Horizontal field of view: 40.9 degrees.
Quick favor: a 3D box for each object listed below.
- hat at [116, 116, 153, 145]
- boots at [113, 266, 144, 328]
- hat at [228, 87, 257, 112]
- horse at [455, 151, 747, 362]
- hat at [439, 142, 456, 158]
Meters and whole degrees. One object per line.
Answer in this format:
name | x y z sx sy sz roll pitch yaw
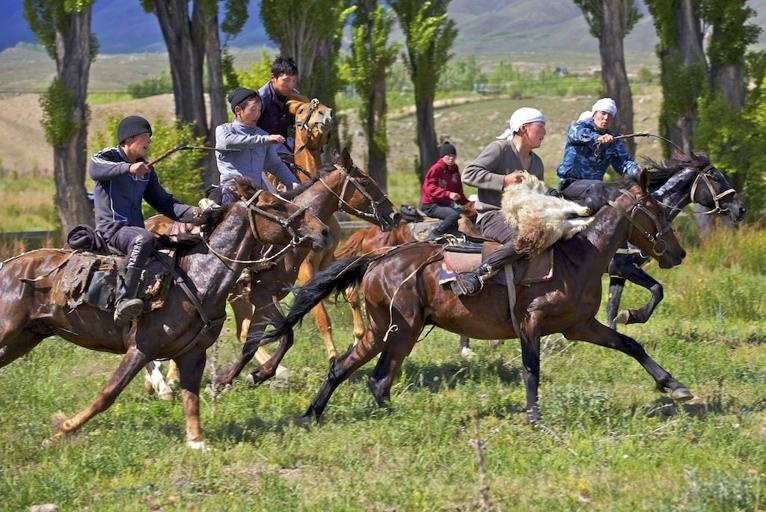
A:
hat | -3.534 -1.774 14.501 0.451 0.335 0.366 -10 8 -2
boots | -3.494 0.572 14.092 0.434 0.789 0.288 -7 15 -10
hat | -2.161 -2.454 15.792 0.407 0.300 0.308 -22 11 22
horse | 4.050 -0.030 18.000 1.112 3.108 5.048 7 -8 -36
hat | 1.141 -1.932 18.748 0.344 0.306 0.257 4 8 7
